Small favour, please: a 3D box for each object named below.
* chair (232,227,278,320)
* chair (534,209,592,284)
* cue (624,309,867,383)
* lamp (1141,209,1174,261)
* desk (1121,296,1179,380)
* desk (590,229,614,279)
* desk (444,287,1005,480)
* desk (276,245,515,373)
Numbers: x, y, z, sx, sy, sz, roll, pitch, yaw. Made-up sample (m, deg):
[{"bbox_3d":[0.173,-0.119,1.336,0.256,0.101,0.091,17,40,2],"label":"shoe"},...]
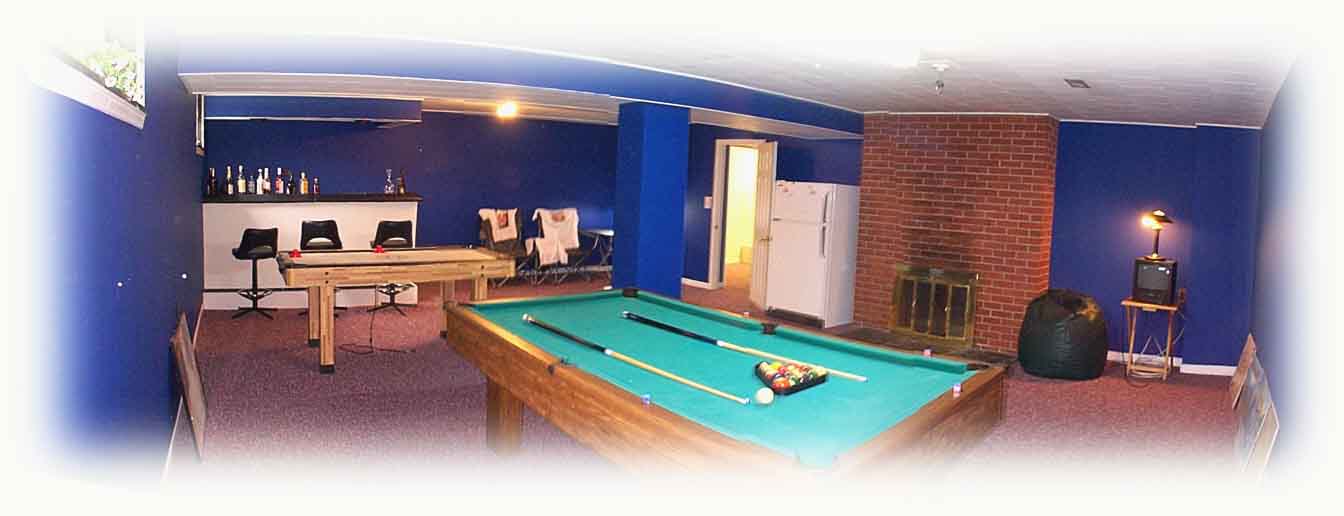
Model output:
[{"bbox_3d":[-7.053,0.237,12.475,0.675,1.494,0.733,-2,7,-25],"label":"chair"},{"bbox_3d":[-2.389,-0.300,15.428,0.855,1.487,1.212,3,6,15],"label":"chair"},{"bbox_3d":[0.777,1.050,8.597,4.206,0.113,0.162,10,33,31],"label":"cue"},{"bbox_3d":[7.443,-0.367,11.322,0.426,0.758,0.550,4,7,27],"label":"lamp"},{"bbox_3d":[7.341,1.213,11.285,0.766,1.206,0.751,4,7,27],"label":"desk"},{"bbox_3d":[-1.532,-0.160,15.884,0.455,0.932,0.788,1,6,-2],"label":"desk"},{"bbox_3d":[0.462,1.332,8.337,5.316,1.468,2.428,3,6,29],"label":"desk"},{"bbox_3d":[-4.516,0.178,11.601,4.396,1.366,2.342,-3,9,-29],"label":"desk"}]
